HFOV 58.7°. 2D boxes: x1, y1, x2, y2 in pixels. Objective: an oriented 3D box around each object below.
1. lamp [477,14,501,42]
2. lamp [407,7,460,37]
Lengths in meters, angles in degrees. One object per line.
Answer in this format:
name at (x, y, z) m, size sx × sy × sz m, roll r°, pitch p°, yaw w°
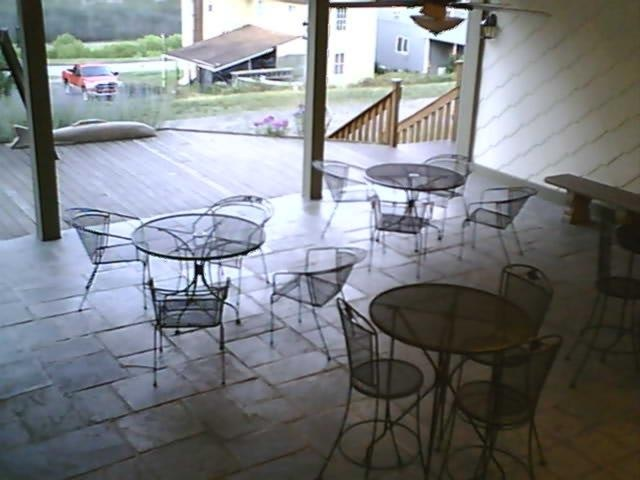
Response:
lamp at (2.804, -3.522, 9.334) m, size 0.369 × 0.599 × 0.370 m, roll 0°, pitch 24°, yaw 1°
lamp at (1.093, -2.080, 5.354) m, size 0.455 × 0.269 × 0.310 m, roll -3°, pitch 25°, yaw -11°
